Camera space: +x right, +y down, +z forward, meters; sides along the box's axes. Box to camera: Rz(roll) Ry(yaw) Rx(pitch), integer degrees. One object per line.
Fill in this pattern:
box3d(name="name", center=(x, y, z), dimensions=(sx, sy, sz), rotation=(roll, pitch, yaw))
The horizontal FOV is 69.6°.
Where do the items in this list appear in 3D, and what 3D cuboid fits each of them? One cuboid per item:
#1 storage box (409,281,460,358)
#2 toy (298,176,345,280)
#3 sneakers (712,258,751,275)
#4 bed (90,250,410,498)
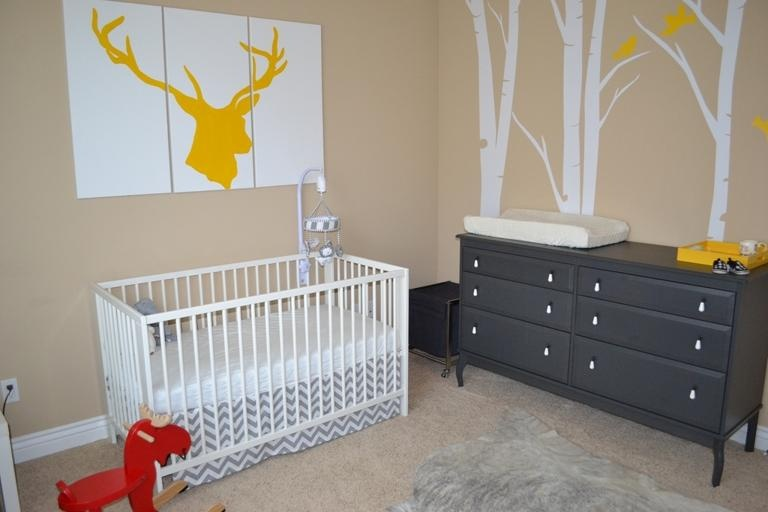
box3d(name="storage box", center=(0.489, 0.497, 4.460), dimensions=(0.477, 0.390, 0.480), rotation=(-5, 8, -37))
box3d(name="toy", center=(-0.497, -0.141, 4.074), dimensions=(0.325, 0.957, 0.275), rotation=(3, 13, 2))
box3d(name="sneakers", center=(1.954, 0.058, 3.122), dimensions=(0.200, 0.075, 0.126), rotation=(1, 11, 8))
box3d(name="bed", center=(-0.778, 0.661, 3.825), dimensions=(1.879, 1.241, 1.204), rotation=(-13, 20, -37))
